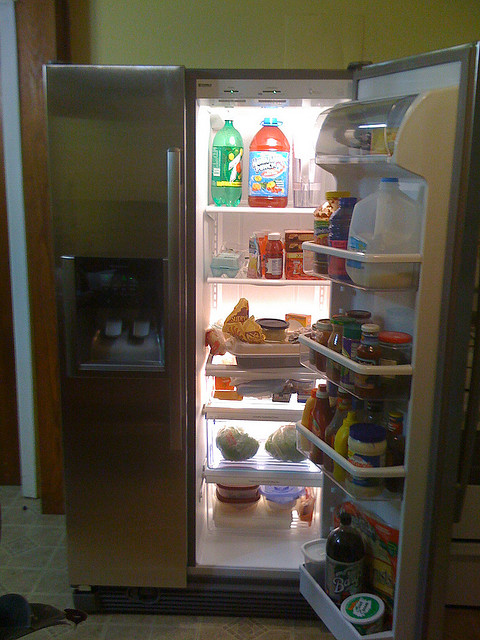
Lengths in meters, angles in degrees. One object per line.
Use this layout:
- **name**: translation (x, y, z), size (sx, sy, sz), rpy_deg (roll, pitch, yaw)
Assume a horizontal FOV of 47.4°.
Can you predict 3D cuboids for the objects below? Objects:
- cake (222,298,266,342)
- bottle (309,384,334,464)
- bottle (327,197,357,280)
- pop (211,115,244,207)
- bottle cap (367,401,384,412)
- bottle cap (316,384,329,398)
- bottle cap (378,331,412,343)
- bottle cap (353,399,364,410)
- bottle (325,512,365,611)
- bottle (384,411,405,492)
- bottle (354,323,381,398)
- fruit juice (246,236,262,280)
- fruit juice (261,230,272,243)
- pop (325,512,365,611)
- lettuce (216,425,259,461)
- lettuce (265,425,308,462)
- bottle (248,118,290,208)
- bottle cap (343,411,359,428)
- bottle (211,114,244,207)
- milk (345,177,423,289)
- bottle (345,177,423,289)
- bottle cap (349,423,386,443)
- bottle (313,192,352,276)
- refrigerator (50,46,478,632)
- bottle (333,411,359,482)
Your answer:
- **cake**: translation (0.008, 0.003, 1.848), size (0.137, 0.054, 0.132), rpy_deg (1, 54, 5)
- **bottle**: translation (0.228, 0.297, 1.547), size (0.050, 0.236, 0.074), rpy_deg (-7, 16, -25)
- **bottle**: translation (0.243, -0.200, 1.353), size (0.051, 0.201, 0.074), rpy_deg (-3, 16, -8)
- **pop**: translation (-0.049, -0.545, 1.896), size (0.127, 0.325, 0.143), rpy_deg (2, 6, 5)
- **bottle cap**: translation (0.331, 0.212, 1.335), size (0.026, 0.028, 0.027), rpy_deg (-5, 10, -29)
- **bottle cap**: translation (0.229, 0.201, 1.515), size (0.026, 0.030, 0.029), rpy_deg (1, 0, -9)
- **bottle cap**: translation (0.350, 0.038, 1.244), size (0.077, 0.020, 0.056), rpy_deg (1, 14, 5)
- **bottle cap**: translation (0.307, 0.221, 1.421), size (0.022, 0.047, 0.027), rpy_deg (-3, 56, 2)
- **bottle**: translation (0.272, 0.625, 1.434), size (0.094, 0.300, 0.100), rpy_deg (-3, 27, 2)
- **bottle**: translation (0.366, 0.317, 1.293), size (0.042, 0.184, 0.062), rpy_deg (3, 12, 17)
- **bottle**: translation (0.283, 0.096, 1.226), size (0.052, 0.172, 0.097), rpy_deg (2, 12, 12)
- **fruit juice**: translation (0.048, -0.203, 1.836), size (0.034, 0.173, 0.094), rpy_deg (-3, 27, -10)
- **fruit juice**: translation (0.087, -0.282, 1.846), size (0.033, 0.046, 0.038), rpy_deg (0, 25, -3)
- **pop**: translation (0.265, 0.617, 1.386), size (0.077, 0.244, 0.108), rpy_deg (1, 4, 3)
- **lettuce**: translation (-0.009, 0.438, 1.962), size (0.095, 0.122, 0.126), rpy_deg (-2, -16, 39)
- **lettuce**: translation (0.156, 0.445, 1.941), size (0.135, 0.139, 0.171), rpy_deg (1, 17, 1)
- **bottle**: translation (0.099, -0.522, 1.849), size (0.129, 0.303, 0.143), rpy_deg (0, 8, -13)
- **bottle cap**: translation (0.272, 0.247, 1.348), size (0.029, 0.040, 0.032), rpy_deg (1, 5, -5)
- **bottle**: translation (-0.045, -0.544, 1.893), size (0.093, 0.319, 0.106), rpy_deg (2, 8, 6)
- **milk**: translation (0.320, -0.182, 1.218), size (0.156, 0.259, 0.170), rpy_deg (12, 22, 28)
- **bottle**: translation (0.305, -0.192, 1.218), size (0.126, 0.265, 0.137), rpy_deg (1, 19, 0)
- **bottle cap**: translation (0.297, 0.252, 1.276), size (0.042, 0.012, 0.047), rpy_deg (1, 13, 1)
- **bottle**: translation (0.253, -0.228, 1.482), size (0.106, 0.230, 0.119), rpy_deg (2, -1, -3)
- **refrigerator**: translation (0.082, 0.082, 1.676), size (1.096, 1.608, 0.733), rpy_deg (6, 13, 26)
- **bottle**: translation (0.254, 0.311, 1.367), size (0.048, 0.177, 0.076), rpy_deg (-3, 15, -6)
